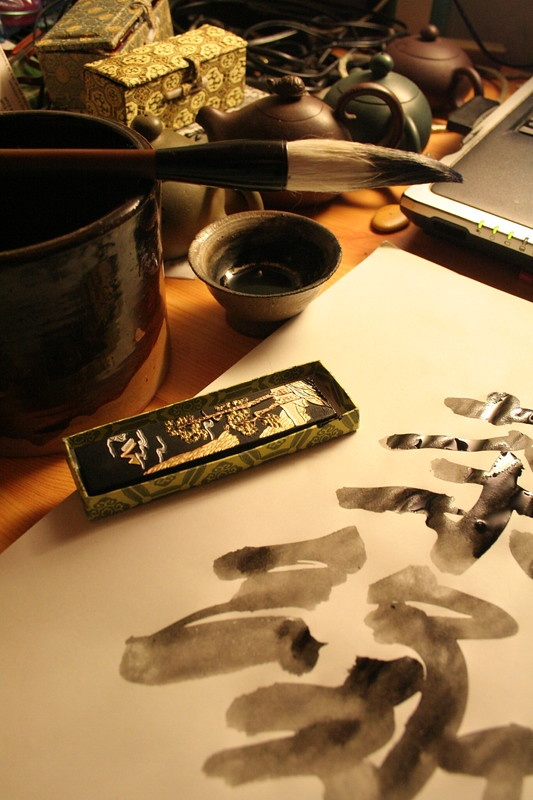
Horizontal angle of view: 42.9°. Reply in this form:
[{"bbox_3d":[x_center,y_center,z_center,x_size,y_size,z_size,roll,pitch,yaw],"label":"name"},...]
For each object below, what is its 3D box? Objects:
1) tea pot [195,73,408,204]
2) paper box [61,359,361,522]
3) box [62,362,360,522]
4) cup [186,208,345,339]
[{"bbox_3d":[0.034,-0.269,0.728,0.205,0.116,0.135,4,51,-1],"label":"tea pot"},{"bbox_3d":[-0.023,0.034,0.498,0.233,0.032,0.081,-15,58,-16],"label":"paper box"},{"bbox_3d":[-0.030,0.035,0.495,0.227,0.030,0.082,-15,58,-16],"label":"box"},{"bbox_3d":[0.002,-0.093,0.561,0.115,0.063,0.115,1,51,-1],"label":"cup"}]
